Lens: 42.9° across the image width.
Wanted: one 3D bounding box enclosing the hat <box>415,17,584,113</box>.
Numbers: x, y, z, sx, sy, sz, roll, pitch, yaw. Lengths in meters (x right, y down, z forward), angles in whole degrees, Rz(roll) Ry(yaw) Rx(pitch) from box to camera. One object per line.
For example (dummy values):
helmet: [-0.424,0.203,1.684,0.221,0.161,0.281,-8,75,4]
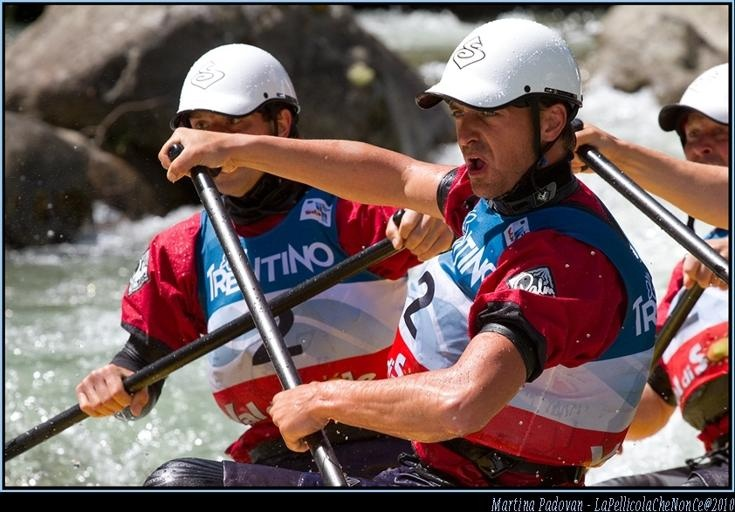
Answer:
hat: [0.727,-0.972,4.923,0.667,0.351,0.492,3,-1,-14]
